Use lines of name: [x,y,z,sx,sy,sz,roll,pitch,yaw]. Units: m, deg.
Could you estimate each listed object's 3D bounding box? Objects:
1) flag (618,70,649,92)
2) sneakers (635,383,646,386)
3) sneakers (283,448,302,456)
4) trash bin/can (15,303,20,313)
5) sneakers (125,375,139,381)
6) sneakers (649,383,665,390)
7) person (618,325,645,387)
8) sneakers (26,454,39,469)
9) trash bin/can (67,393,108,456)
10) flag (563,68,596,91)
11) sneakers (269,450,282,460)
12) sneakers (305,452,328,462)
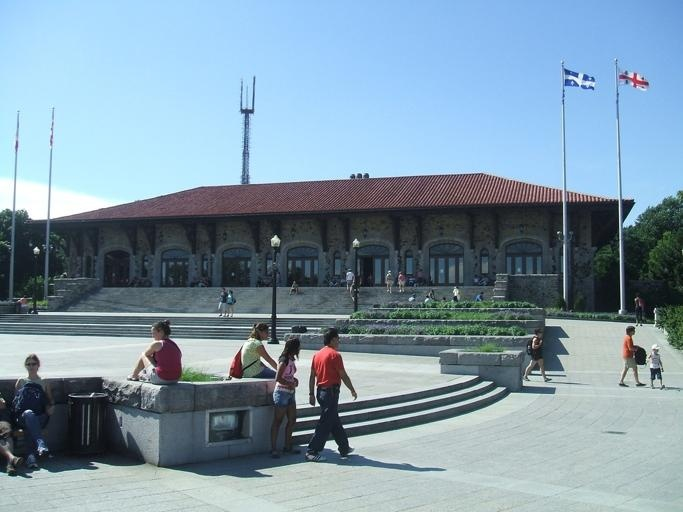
flag: [13.810,-8.411,35.735,1.081,1.158,2.448,0,2,11]
sneakers: [7.502,3.178,18.933,0.277,0.117,0.099,-2,-1,-1]
sneakers: [-0.839,3.313,12.980,0.237,0.105,0.128,-4,-2,9]
trash bin/can: [-15.289,2.357,35.789,0.225,0.488,0.429,-1,2,-28]
sneakers: [-3.534,2.041,12.823,0.189,0.082,0.079,-1,-8,27]
sneakers: [7.832,3.203,18.815,0.142,0.183,0.403,-2,-12,6]
person: [7.571,2.502,19.776,0.575,1.447,2.288,1,2,21]
sneakers: [-4.903,3.219,12.013,0.222,0.185,0.155,2,3,41]
trash bin/can: [-4.284,2.812,12.852,0.631,0.979,0.607,1,0,-13]
flag: [11.424,-8.667,36.862,0.619,1.147,1.816,-1,2,-25]
sneakers: [-1.125,3.327,12.770,0.116,0.090,0.216,2,-9,-23]
sneakers: [-0.444,3.332,12.644,0.261,0.129,0.153,0,0,7]
